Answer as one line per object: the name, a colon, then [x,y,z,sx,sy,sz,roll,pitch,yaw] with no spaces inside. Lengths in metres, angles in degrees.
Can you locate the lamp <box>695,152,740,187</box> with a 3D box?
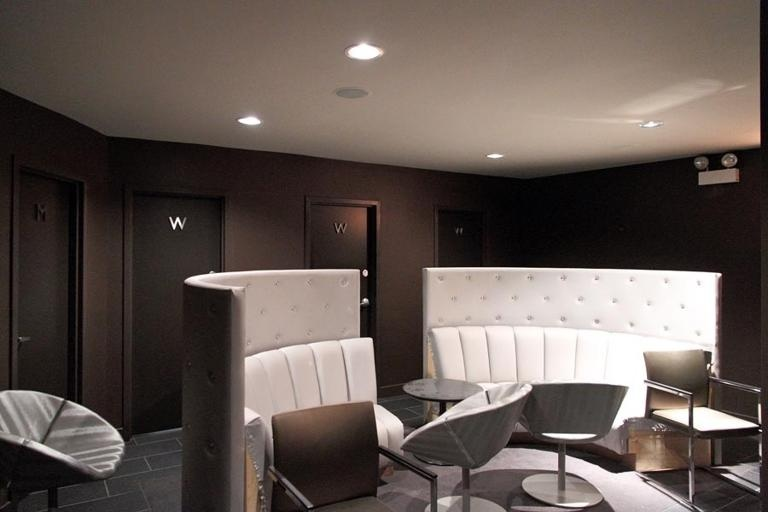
lamp: [3.938,-1.030,6.274,0.107,0.327,0.394,3,-5,-29]
